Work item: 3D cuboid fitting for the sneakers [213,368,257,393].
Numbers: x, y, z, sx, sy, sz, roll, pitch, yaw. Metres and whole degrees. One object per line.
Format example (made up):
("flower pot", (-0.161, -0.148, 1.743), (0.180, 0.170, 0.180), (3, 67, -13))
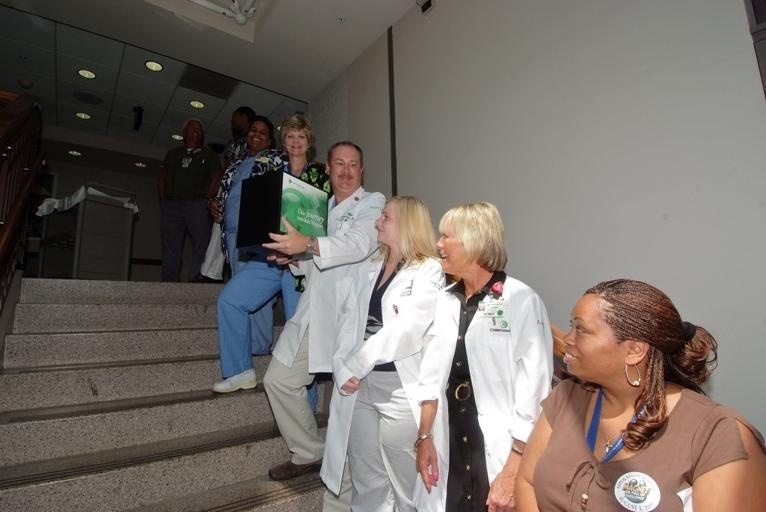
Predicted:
("sneakers", (-1.002, 0.847, 2.962), (0.291, 0.195, 0.110), (3, -4, -26))

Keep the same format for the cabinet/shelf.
("cabinet/shelf", (-3.269, -0.126, 5.025), (0.697, 0.931, 1.135), (12, -21, -34))

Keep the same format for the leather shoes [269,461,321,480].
("leather shoes", (-0.533, 1.287, 2.636), (0.302, 0.091, 0.116), (3, 0, -17))

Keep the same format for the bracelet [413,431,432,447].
("bracelet", (0.187, 0.864, 2.069), (0.080, 0.030, 0.069), (-34, -8, 6))

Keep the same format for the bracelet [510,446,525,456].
("bracelet", (0.565, 0.823, 1.824), (0.038, 0.010, 0.037), (3, -1, -24))

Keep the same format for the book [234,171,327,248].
("book", (-0.573, -0.223, 2.667), (0.352, 0.413, 0.495), (-6, -14, 33))

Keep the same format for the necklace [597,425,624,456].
("necklace", (0.822, 0.678, 1.555), (0.025, 0.105, 0.068), (12, 35, -32))
